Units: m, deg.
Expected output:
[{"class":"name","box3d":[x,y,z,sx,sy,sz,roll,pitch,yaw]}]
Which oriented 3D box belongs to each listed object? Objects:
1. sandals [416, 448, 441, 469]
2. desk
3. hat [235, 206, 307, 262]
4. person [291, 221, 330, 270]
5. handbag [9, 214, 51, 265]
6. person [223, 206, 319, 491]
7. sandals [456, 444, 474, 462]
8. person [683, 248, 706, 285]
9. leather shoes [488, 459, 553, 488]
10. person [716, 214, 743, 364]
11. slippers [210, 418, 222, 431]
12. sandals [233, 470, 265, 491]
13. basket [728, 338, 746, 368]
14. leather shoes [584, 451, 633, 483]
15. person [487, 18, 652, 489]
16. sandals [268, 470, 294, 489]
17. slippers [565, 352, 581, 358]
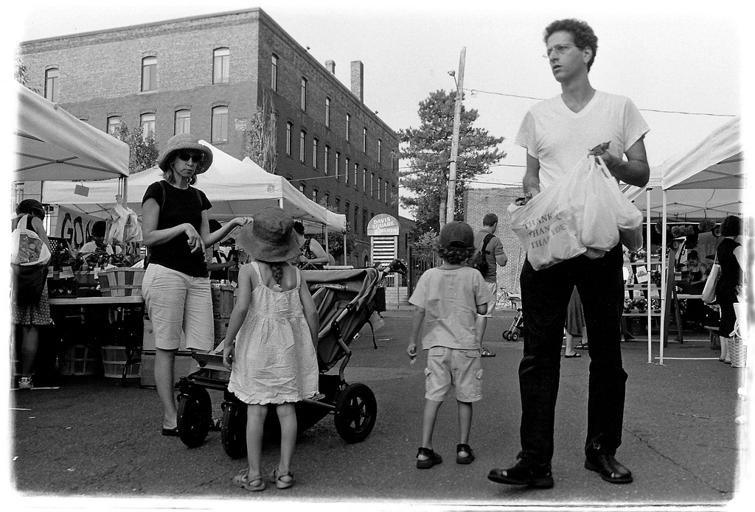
[{"class":"sandals","box3d":[0.458,1.793,6.532,0.111,0.124,0.282,-1,0,26]},{"class":"desk","box3d":[-3.348,0.854,9.144,1.235,1.127,1.220,0,3,1]},{"class":"hat","box3d":[-0.928,-0.130,6.464,0.508,0.257,0.450,15,40,-17]},{"class":"person","box3d":[-1.182,-0.216,13.232,0.453,0.422,1.027,-8,39,-22]},{"class":"handbag","box3d":[-4.312,-0.144,8.910,0.533,0.490,0.495,4,8,35]},{"class":"person","box3d":[-0.964,0.742,6.389,0.620,2.291,0.882,4,8,33]},{"class":"sandals","box3d":[0.788,1.777,6.650,0.177,0.157,0.184,1,7,15]},{"class":"person","box3d":[6.544,0.252,15.200,0.532,0.780,0.477,-1,2,0]},{"class":"leather shoes","box3d":[1.208,1.800,6.197,0.585,0.296,0.227,6,-12,0]},{"class":"person","box3d":[4.895,0.518,10.291,0.327,2.148,0.883,2,7,24]},{"class":"slippers","box3d":[-1.566,1.642,7.174,0.142,0.132,0.134,1,-15,-4]},{"class":"sandals","box3d":[-1.070,1.857,6.149,0.260,0.112,0.129,4,1,42]},{"class":"basket","box3d":[4.983,1.317,10.199,0.126,0.488,0.835,2,7,19]},{"class":"leather shoes","box3d":[1.972,1.797,6.286,0.177,0.167,0.399,-4,-3,-22]},{"class":"person","box3d":[1.644,-0.057,6.307,1.291,3.902,0.885,-2,7,-9]},{"class":"sandals","box3d":[-0.802,1.858,6.174,0.218,0.130,0.186,1,7,13]},{"class":"slippers","box3d":[3.109,1.570,11.677,0.272,0.112,0.099,-2,1,2]}]
